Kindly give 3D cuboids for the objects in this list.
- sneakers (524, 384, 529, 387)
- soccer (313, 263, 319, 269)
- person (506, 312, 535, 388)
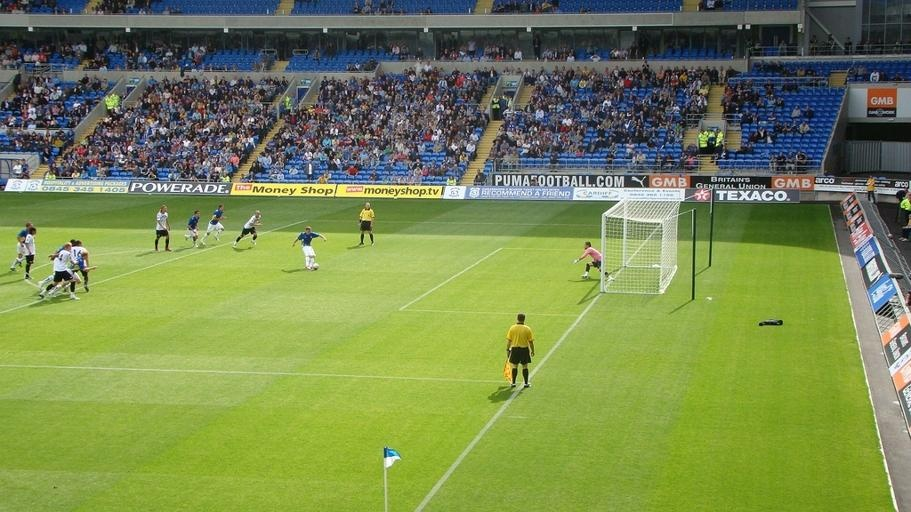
[{"bbox_3d":[2.592,4.695,31.168,0.222,0.114,0.104,0,16,0],"label":"sneakers"},{"bbox_3d":[-7.335,0.472,44.568,0.280,0.250,0.863,-3,11,-9],"label":"soccer"},{"bbox_3d":[2.323,3.323,31.132,0.909,2.877,1.553,-1,13,4],"label":"person"}]
